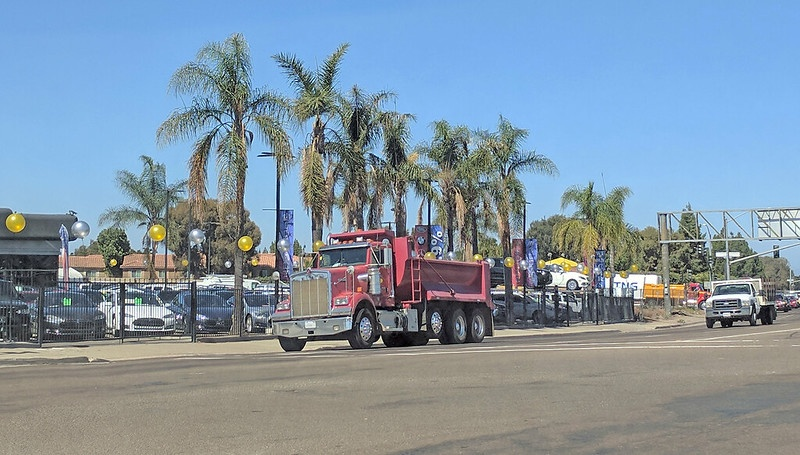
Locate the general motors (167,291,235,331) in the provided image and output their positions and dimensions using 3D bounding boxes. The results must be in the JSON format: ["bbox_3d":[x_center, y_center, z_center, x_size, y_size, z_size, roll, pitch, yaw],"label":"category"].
[{"bbox_3d":[-9.402,4.065,37.959,0.840,2.031,3.122,-8,-11,36],"label":"general motors"}]

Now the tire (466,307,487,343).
[{"bbox_3d":[3.445,4.412,36.126,0.486,1.629,1.538,-5,-3,36],"label":"tire"}]

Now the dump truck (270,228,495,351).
[{"bbox_3d":[-0.529,2.787,34.376,4.724,3.970,8.457,-10,-14,40],"label":"dump truck"}]

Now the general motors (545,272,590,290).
[{"bbox_3d":[16.040,5.188,75.792,5.121,1.879,2.578,-1,-1,15],"label":"general motors"}]

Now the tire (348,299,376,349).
[{"bbox_3d":[-1.488,4.001,31.796,0.438,1.697,1.505,-9,-11,39],"label":"tire"}]

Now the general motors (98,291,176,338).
[{"bbox_3d":[-11.896,3.911,36.042,0.874,2.081,3.513,-9,-11,39],"label":"general motors"}]

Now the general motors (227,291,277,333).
[{"bbox_3d":[-7.141,4.274,40.282,1.651,1.382,2.829,-1,-7,-3],"label":"general motors"}]

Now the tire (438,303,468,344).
[{"bbox_3d":[2.263,4.240,34.862,0.501,1.722,1.637,-4,-7,30],"label":"tire"}]

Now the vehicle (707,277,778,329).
[{"bbox_3d":[20.669,4.496,48.340,2.685,2.185,5.782,-5,-11,24],"label":"vehicle"}]
